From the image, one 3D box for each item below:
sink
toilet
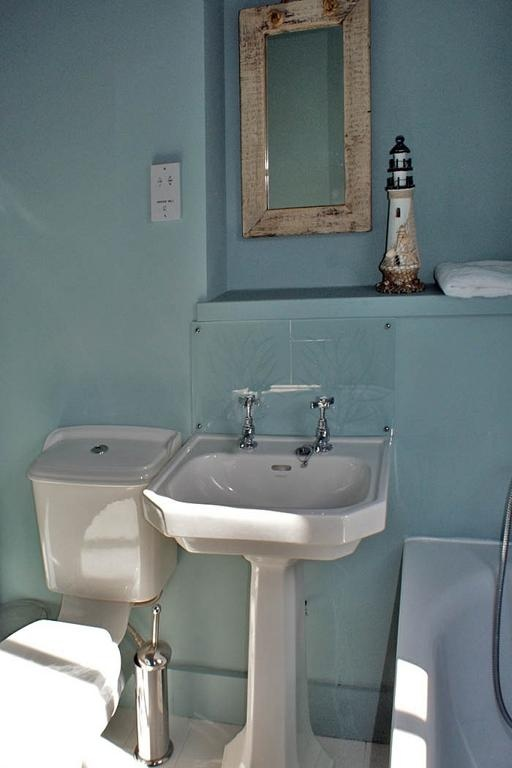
[{"bbox_3d":[0.034,0.248,1.434,0.482,0.174,0.483,-1,8,12],"label":"sink"},{"bbox_3d":[-0.393,0.369,1.686,0.327,0.465,0.268,5,23,1],"label":"toilet"}]
